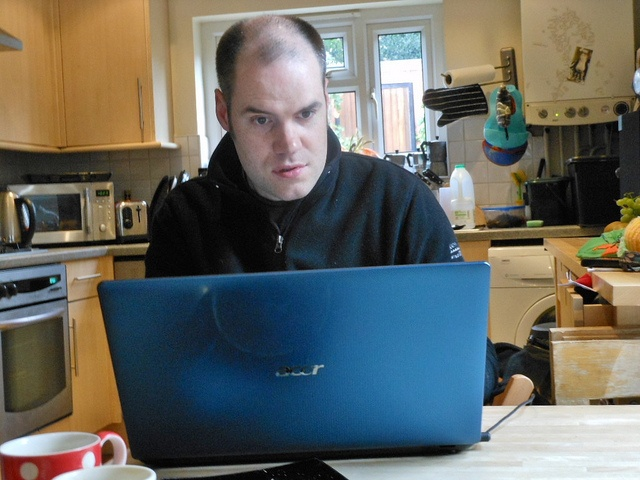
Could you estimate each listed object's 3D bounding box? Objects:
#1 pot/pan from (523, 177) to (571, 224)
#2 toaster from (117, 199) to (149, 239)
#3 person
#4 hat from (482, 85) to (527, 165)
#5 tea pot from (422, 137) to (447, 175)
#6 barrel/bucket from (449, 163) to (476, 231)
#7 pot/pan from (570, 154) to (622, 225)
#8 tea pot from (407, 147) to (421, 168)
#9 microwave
[{"bbox_3d":[1.317,-0.237,3.233,0.264,0.278,0.296,-2,11,13],"label":"pot/pan"},{"bbox_3d":[-1.166,-0.095,3.496,0.205,0.269,0.269,-5,-11,-23],"label":"toaster"},{"bbox_3d":[-0.035,-0.052,1.424,0.875,0.944,0.491,5,26,17],"label":"person"},{"bbox_3d":[1.124,-0.698,3.411,0.250,0.478,0.357,4,23,14],"label":"hat"},{"bbox_3d":[0.731,-0.544,3.652,0.217,0.236,0.124,-4,5,-32],"label":"tea pot"},{"bbox_3d":[0.857,-0.249,3.383,0.152,0.395,0.166,-3,-5,0],"label":"barrel/bucket"},{"bbox_3d":[1.431,-0.255,3.089,0.279,0.424,0.392,-1,1,5],"label":"pot/pan"},{"bbox_3d":[0.624,-0.527,3.604,0.118,0.131,0.081,-7,5,10],"label":"tea pot"},{"bbox_3d":[-1.449,-0.160,3.306,0.508,0.372,0.349,-2,3,-20],"label":"microwave"}]
